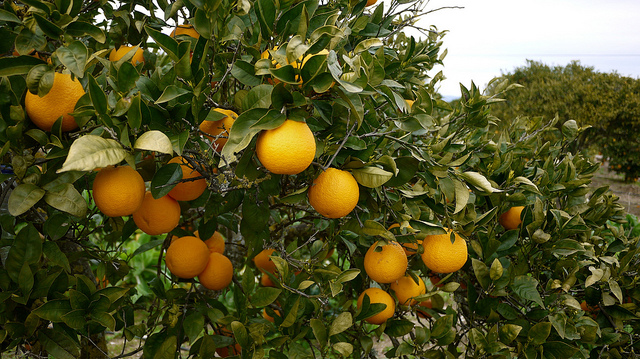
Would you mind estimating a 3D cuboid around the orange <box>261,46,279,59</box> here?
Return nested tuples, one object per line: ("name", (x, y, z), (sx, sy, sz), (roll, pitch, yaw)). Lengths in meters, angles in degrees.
("orange", (-0.283, -0.705, 2.927), (0.067, 0.076, 0.036), (-7, 49, -39))

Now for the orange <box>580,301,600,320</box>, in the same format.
("orange", (1.908, 0.908, 3.684), (0.116, 0.095, 0.127), (16, 16, 17))

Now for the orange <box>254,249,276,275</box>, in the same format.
("orange", (-0.368, 0.550, 3.624), (0.140, 0.161, 0.140), (8, 10, 38))

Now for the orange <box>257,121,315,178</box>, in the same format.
("orange", (-0.184, -0.199, 2.861), (0.308, 0.335, 0.293), (13, 20, 15))

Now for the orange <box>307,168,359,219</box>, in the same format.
("orange", (0.063, 0.087, 3.022), (0.291, 0.317, 0.294), (4, 6, 18))

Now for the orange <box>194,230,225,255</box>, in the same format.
("orange", (-0.714, 0.412, 3.419), (0.146, 0.167, 0.142), (-1, 45, 3))

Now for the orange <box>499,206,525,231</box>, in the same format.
("orange", (1.351, 0.273, 3.623), (0.154, 0.171, 0.148), (-8, 17, -12))

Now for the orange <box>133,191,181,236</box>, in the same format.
("orange", (-0.990, 0.182, 3.071), (0.244, 0.278, 0.245), (-18, 3, -5))

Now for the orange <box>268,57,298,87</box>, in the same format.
("orange", (-0.196, -0.588, 2.844), (0.100, 0.163, 0.192), (3, 17, -28))

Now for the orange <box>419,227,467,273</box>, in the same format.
("orange", (0.728, 0.453, 3.205), (0.274, 0.270, 0.273), (-6, -16, 27))
